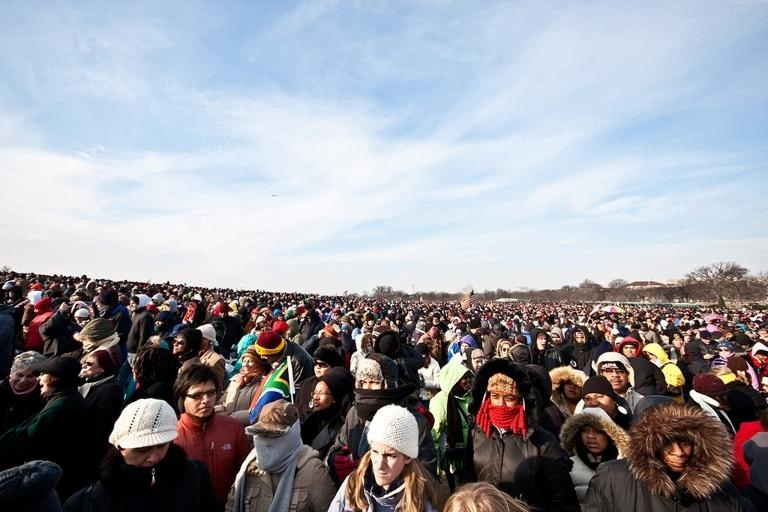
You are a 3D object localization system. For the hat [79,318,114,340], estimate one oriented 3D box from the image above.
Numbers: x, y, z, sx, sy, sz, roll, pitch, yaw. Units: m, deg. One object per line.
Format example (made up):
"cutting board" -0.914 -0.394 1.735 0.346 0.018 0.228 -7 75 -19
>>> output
"hat" -5.122 1.305 6.656 0.514 0.369 0.295 4 -10 -24

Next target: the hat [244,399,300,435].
"hat" -1.145 1.625 3.784 0.338 0.161 0.473 0 -3 19

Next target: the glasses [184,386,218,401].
"glasses" -2.154 1.580 4.349 0.331 0.213 0.157 3 -10 -21

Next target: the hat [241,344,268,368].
"hat" -2.141 1.705 6.293 0.281 0.388 0.592 -5 -10 24

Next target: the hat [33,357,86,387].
"hat" -3.947 1.373 4.646 0.469 0.223 0.326 25 0 -4

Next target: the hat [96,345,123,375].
"hat" -3.919 1.492 5.319 0.251 0.367 0.380 2 -9 -12

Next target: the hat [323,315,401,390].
"hat" -0.480 1.827 7.272 0.959 0.999 1.036 14 -35 12

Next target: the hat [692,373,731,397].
"hat" 4.880 1.933 5.595 0.361 0.133 0.332 1 14 -11
